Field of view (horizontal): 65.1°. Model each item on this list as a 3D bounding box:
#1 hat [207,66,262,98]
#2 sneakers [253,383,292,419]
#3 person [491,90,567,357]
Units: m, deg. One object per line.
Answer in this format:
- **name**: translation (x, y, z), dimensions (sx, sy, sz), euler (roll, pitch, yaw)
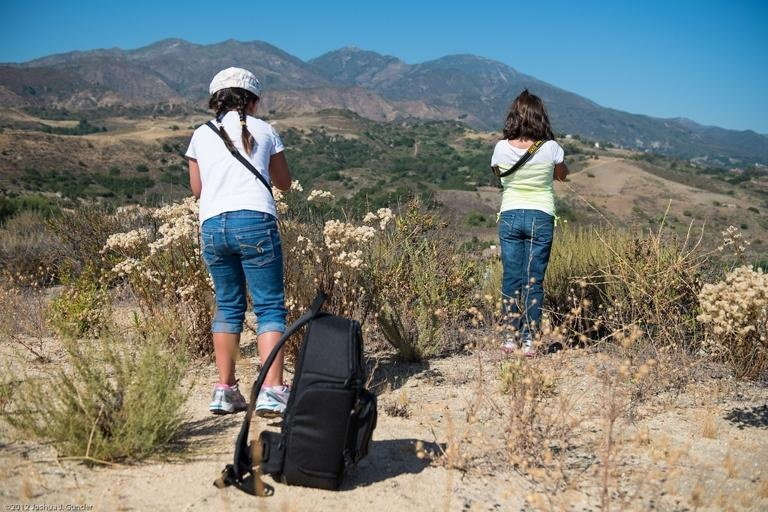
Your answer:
- **hat**: translation (-1.284, -1.445, 5.117), dimensions (0.276, 0.204, 0.387), euler (7, 27, 11)
- **sneakers**: translation (-0.904, 1.174, 5.063), dimensions (0.225, 0.298, 0.605), euler (-3, -13, 9)
- **person**: translation (1.442, -0.374, 6.059), dimensions (0.742, 2.565, 1.329), euler (3, 11, 10)
